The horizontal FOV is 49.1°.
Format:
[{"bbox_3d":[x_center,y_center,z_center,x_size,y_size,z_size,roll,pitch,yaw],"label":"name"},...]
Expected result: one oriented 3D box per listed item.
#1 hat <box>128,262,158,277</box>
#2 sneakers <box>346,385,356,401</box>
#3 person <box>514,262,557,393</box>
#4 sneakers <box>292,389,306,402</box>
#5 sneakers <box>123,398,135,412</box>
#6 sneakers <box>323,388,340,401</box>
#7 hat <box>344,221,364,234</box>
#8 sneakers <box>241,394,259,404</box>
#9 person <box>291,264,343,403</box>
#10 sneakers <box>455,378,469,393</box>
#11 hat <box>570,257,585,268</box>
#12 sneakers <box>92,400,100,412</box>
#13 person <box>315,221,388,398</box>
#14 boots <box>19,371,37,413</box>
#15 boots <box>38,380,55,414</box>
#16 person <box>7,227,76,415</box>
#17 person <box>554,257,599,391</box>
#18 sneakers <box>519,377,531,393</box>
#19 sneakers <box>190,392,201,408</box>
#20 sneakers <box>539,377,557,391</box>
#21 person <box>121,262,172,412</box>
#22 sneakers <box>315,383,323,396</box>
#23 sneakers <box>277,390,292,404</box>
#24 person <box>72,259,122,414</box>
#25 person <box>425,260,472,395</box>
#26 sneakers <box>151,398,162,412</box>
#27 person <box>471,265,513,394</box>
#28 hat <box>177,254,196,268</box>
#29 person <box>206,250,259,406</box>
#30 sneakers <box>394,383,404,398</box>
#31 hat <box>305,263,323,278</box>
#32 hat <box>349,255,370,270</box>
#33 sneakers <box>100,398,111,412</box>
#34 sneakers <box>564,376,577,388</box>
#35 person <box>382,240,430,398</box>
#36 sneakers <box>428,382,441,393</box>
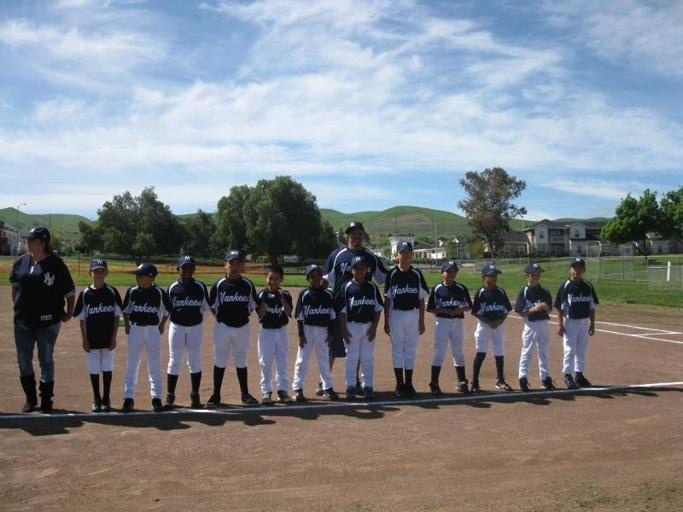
[{"bbox_3d":[-2.871,0.204,10.925,0.318,0.181,0.222,4,-5,-28],"label":"hat"},{"bbox_3d":[0.131,2.073,11.372,0.142,0.209,0.363,1,9,3],"label":"sneakers"},{"bbox_3d":[3.163,1.151,12.217,0.690,2.065,1.313,3,10,16],"label":"person"},{"bbox_3d":[-0.631,2.109,11.316,0.196,0.181,0.236,0,9,-6],"label":"sneakers"},{"bbox_3d":[-3.059,2.108,10.673,0.159,0.209,0.307,-2,10,-16],"label":"sneakers"},{"bbox_3d":[-0.168,2.116,11.404,0.115,0.143,0.349,3,-9,-28],"label":"sneakers"},{"bbox_3d":[0.187,-0.481,11.740,0.259,0.201,0.433,3,11,3],"label":"hat"},{"bbox_3d":[-1.378,2.132,11.113,0.127,0.110,0.247,5,-11,-36],"label":"sneakers"},{"bbox_3d":[-0.399,1.176,11.436,0.699,2.050,0.717,0,9,-3],"label":"person"},{"bbox_3d":[1.897,2.066,11.862,0.147,0.207,0.414,1,-12,-1],"label":"sneakers"},{"bbox_3d":[3.880,0.096,12.235,0.211,0.163,0.354,3,-3,17],"label":"hat"},{"bbox_3d":[-3.490,2.121,10.634,0.128,0.148,0.286,-3,10,-19],"label":"sneakers"},{"bbox_3d":[0.135,0.809,11.897,0.977,2.780,0.656,4,11,6],"label":"person"},{"bbox_3d":[-4.444,1.915,10.606,0.198,0.519,0.315,-4,10,-23],"label":"boots"},{"bbox_3d":[-4.176,1.976,10.555,0.179,0.446,0.274,-3,10,-22],"label":"boots"},{"bbox_3d":[-4.272,0.886,10.695,0.812,2.599,0.860,-8,12,-41],"label":"person"},{"bbox_3d":[3.785,1.098,12.154,0.614,2.086,0.757,9,13,42],"label":"person"},{"bbox_3d":[2.897,2.025,11.896,0.163,0.261,0.281,3,10,14],"label":"sneakers"},{"bbox_3d":[-2.135,2.091,10.950,0.147,0.213,0.269,-2,10,-12],"label":"sneakers"},{"bbox_3d":[3.355,2.046,12.096,0.370,0.243,0.124,1,4,-31],"label":"sneakers"},{"bbox_3d":[-2.872,1.172,10.866,0.683,2.085,0.998,-2,10,-14],"label":"person"},{"bbox_3d":[-0.362,2.098,11.687,0.092,0.189,0.193,-1,-2,17],"label":"sneakers"},{"bbox_3d":[-0.870,2.113,11.184,0.100,0.192,0.297,4,-21,-36],"label":"sneakers"},{"bbox_3d":[-3.498,1.115,10.689,0.577,2.086,0.689,1,9,2],"label":"person"},{"bbox_3d":[1.728,1.143,12.114,0.696,2.135,1.487,2,9,10],"label":"person"},{"bbox_3d":[-2.627,2.115,10.629,0.131,0.182,0.114,-2,10,-12],"label":"sneakers"},{"bbox_3d":[2.462,1.176,12.338,0.650,2.062,1.518,2,10,11],"label":"person"},{"bbox_3d":[-2.395,0.075,11.149,0.248,0.192,0.410,5,-6,-16],"label":"hat"},{"bbox_3d":[-1.636,1.075,11.179,0.745,2.232,0.846,-1,10,-7],"label":"person"},{"bbox_3d":[0.871,2.067,11.546,0.204,0.253,0.154,1,-3,-40],"label":"sneakers"},{"bbox_3d":[-0.456,0.214,11.485,0.237,0.184,0.395,3,-2,-3],"label":"hat"},{"bbox_3d":[0.244,0.105,11.508,0.236,0.181,0.395,1,3,1],"label":"hat"},{"bbox_3d":[-3.350,2.113,10.610,0.125,0.158,0.170,-3,10,-17],"label":"sneakers"},{"bbox_3d":[3.682,2.006,12.001,0.182,0.209,0.158,1,9,1],"label":"sneakers"},{"bbox_3d":[1.008,0.978,11.858,0.704,2.473,1.189,1,9,4],"label":"person"},{"bbox_3d":[1.461,2.070,11.742,0.192,0.207,0.378,2,9,7],"label":"sneakers"}]
